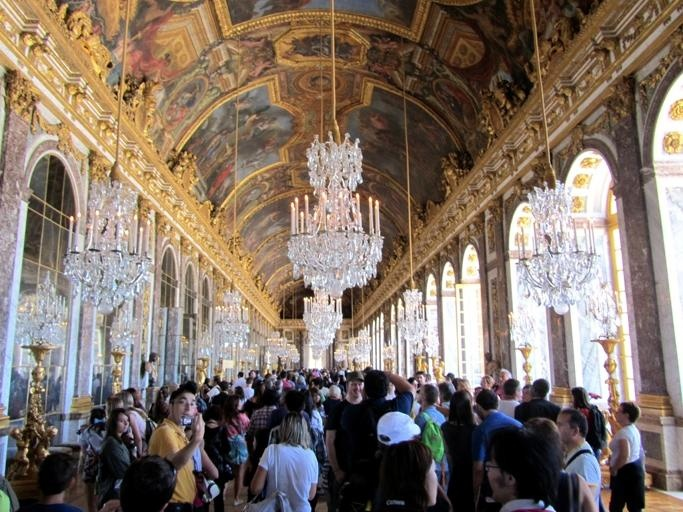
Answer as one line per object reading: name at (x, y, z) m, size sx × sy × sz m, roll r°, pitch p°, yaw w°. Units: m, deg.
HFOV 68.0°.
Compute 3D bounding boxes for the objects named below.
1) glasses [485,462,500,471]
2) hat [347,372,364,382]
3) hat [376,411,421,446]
glasses at (1.123, 1.562, 3.790) m, size 0.030 × 0.045 × 0.113 m, roll 12°, pitch -22°, yaw -37°
hat at (0.180, 1.547, 6.523) m, size 0.170 × 0.107 × 0.253 m, roll 4°, pitch -15°, yaw -4°
hat at (0.559, 1.653, 4.905) m, size 0.351 × 0.335 × 0.279 m, roll -9°, pitch 10°, yaw -24°
